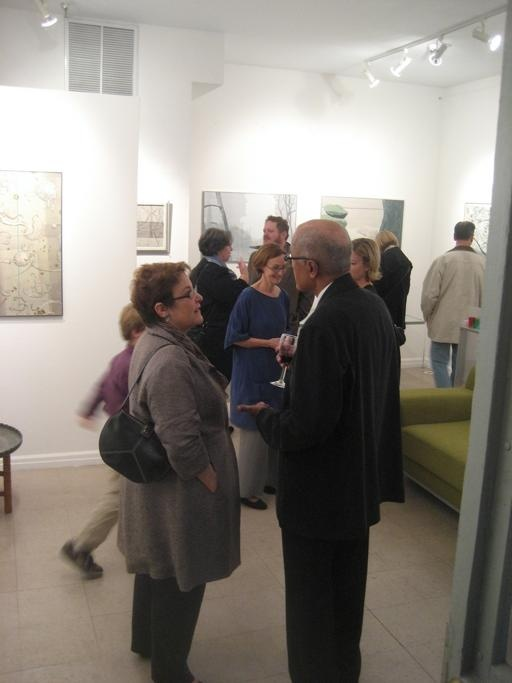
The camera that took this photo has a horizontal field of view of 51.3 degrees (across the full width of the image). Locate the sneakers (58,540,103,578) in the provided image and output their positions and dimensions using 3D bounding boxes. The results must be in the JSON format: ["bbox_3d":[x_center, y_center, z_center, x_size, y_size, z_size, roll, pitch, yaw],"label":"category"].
[{"bbox_3d":[-0.896,1.126,2.747,0.236,0.092,0.144,43,7,8],"label":"sneakers"}]

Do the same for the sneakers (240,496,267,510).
[{"bbox_3d":[-0.011,1.068,3.574,0.143,0.058,0.077,1,1,27],"label":"sneakers"}]

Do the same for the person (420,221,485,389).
[{"bbox_3d":[2.158,-0.412,5.872,0.617,1.756,0.437,5,11,19],"label":"person"}]

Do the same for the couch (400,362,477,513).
[{"bbox_3d":[1.236,0.732,3.764,0.493,0.813,1.056,6,12,22],"label":"couch"}]

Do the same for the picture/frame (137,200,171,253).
[{"bbox_3d":[-0.989,-1.119,5.077,0.508,0.575,0.037,-5,22,-21],"label":"picture/frame"}]

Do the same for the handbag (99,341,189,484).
[{"bbox_3d":[-0.310,0.239,1.744,0.239,0.427,0.144,30,6,21],"label":"handbag"}]
